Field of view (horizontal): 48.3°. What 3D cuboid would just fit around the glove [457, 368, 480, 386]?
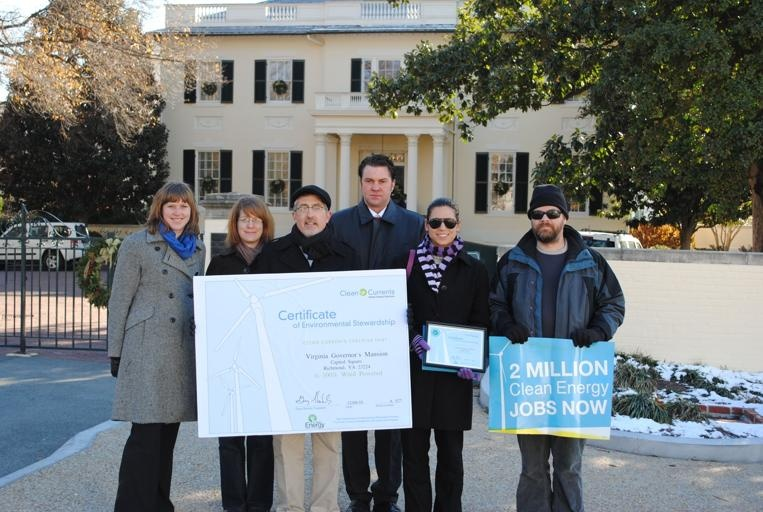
[{"bbox_3d":[1.136,1.591,11.250,0.276,0.151,0.218,18,-8,31],"label":"glove"}]

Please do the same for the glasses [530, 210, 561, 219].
[{"bbox_3d":[2.201,-0.547,11.390,0.422,0.146,0.081,2,2,12],"label":"glasses"}]

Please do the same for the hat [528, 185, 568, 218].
[{"bbox_3d":[2.180,-0.744,11.593,0.408,0.365,0.443,-15,-6,17],"label":"hat"}]

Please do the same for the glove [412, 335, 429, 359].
[{"bbox_3d":[0.517,1.201,11.243,0.074,0.282,0.204,-6,-34,-45],"label":"glove"}]
